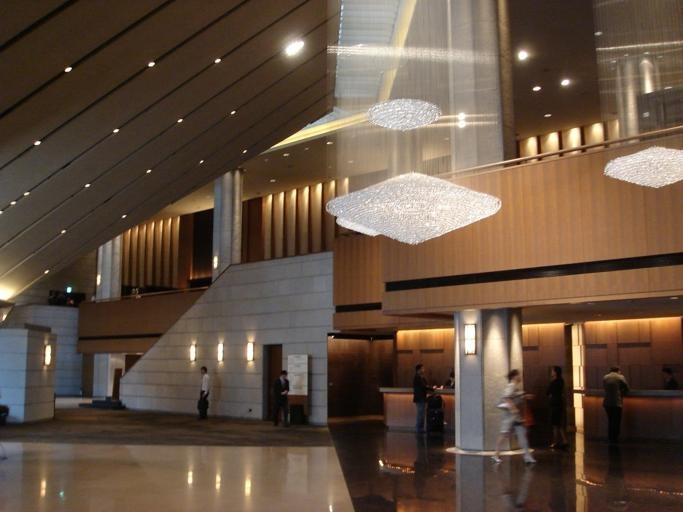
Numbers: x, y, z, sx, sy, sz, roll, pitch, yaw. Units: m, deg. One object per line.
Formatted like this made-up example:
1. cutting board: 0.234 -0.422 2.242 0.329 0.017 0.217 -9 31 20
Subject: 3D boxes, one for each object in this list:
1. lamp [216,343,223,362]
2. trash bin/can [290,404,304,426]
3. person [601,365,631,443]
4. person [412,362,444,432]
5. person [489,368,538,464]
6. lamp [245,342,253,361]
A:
1. lamp: -4.142 3.240 22.167 0.096 0.652 0.349 8 -12 -44
2. trash bin/can: -1.330 4.676 19.244 0.502 0.721 0.501 1 -7 -18
3. person: 6.259 3.344 14.782 0.554 1.674 0.786 -4 -9 23
4. person: 2.160 3.702 16.968 0.769 1.728 1.146 -7 -10 35
5. person: 3.378 3.106 12.912 0.799 1.715 1.459 -3 -9 15
6. lamp: -3.007 3.113 21.293 0.343 0.624 0.084 -6 -10 34
